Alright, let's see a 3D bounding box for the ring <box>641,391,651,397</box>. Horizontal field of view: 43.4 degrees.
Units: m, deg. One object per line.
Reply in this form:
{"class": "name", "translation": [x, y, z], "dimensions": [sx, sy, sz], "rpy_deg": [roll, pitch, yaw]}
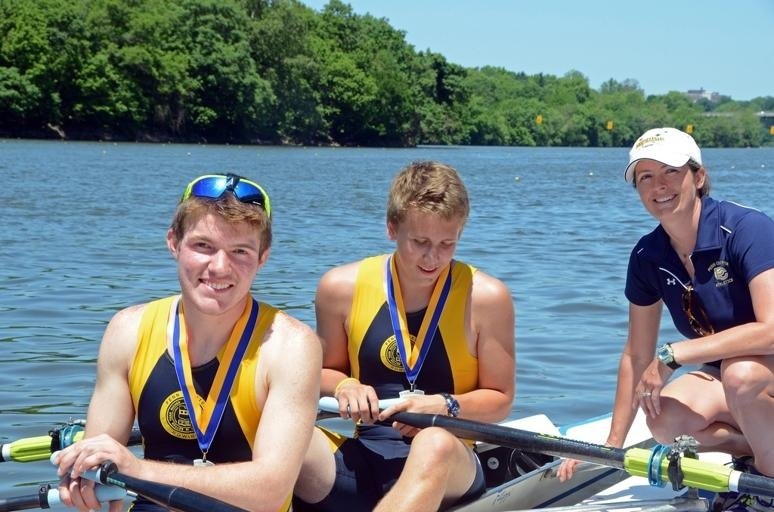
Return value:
{"class": "ring", "translation": [1.967, 1.054, 7.365], "dimensions": [0.081, 0.051, 0.017], "rpy_deg": [2, 5, 42]}

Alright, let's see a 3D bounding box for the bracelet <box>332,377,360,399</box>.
{"class": "bracelet", "translation": [-0.308, 0.993, 7.268], "dimensions": [0.177, 0.136, 0.274], "rpy_deg": [-1, 3, -4]}
